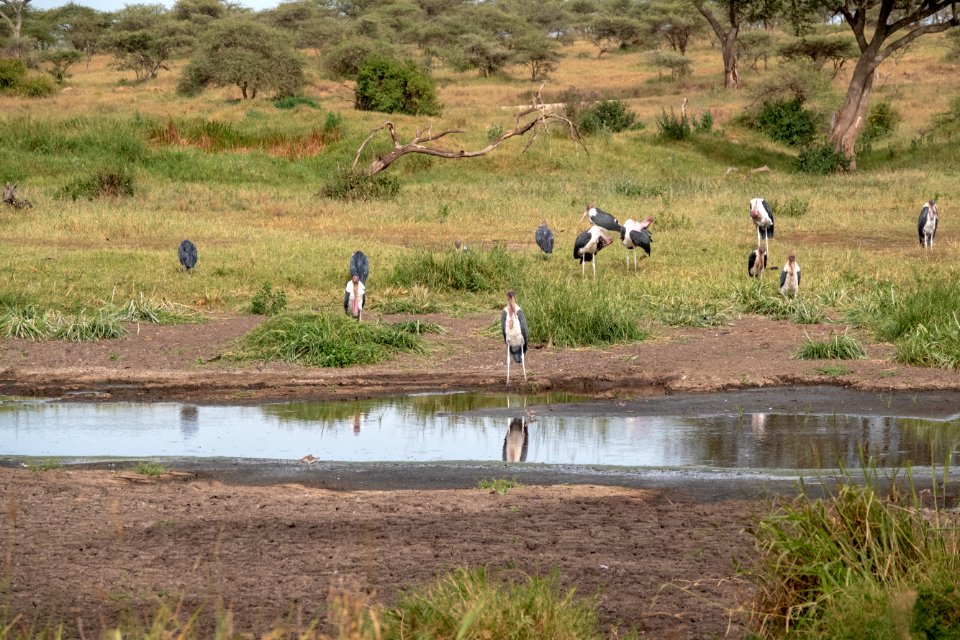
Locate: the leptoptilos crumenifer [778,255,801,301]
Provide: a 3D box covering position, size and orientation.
[{"bbox_3d":[8.883,-1.233,48.426,0.568,1.206,1.146,-1,5,9],"label":"leptoptilos crumenifer"}]

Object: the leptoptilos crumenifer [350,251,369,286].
[{"bbox_3d":[-3.345,-1.455,47.542,0.233,0.786,0.747,0,-1,33],"label":"leptoptilos crumenifer"}]

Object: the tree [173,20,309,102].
[{"bbox_3d":[-10.755,-12.009,78.682,4.517,3.403,4.616,11,28,35],"label":"tree"}]

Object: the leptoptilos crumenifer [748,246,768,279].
[{"bbox_3d":[8.227,-1.638,49.959,0.508,0.862,0.628,-1,5,1],"label":"leptoptilos crumenifer"}]

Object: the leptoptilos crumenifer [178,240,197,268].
[{"bbox_3d":[-8.558,-1.878,49.651,0.492,0.888,0.603,-2,4,-12],"label":"leptoptilos crumenifer"}]

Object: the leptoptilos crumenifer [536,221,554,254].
[{"bbox_3d":[1.975,-2.614,51.981,0.402,0.675,1.102,-6,30,-4],"label":"leptoptilos crumenifer"}]

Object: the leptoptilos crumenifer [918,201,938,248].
[{"bbox_3d":[14.035,-2.871,52.864,0.480,1.212,2.015,4,39,12],"label":"leptoptilos crumenifer"}]

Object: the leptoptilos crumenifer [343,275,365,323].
[{"bbox_3d":[-3.453,-0.579,46.620,0.538,1.284,1.539,-2,5,-6],"label":"leptoptilos crumenifer"}]

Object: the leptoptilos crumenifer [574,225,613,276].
[{"bbox_3d":[3.391,-2.008,50.363,0.774,1.486,2.138,4,-5,-18],"label":"leptoptilos crumenifer"}]

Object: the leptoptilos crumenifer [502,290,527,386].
[{"bbox_3d":[0.934,0.471,44.301,0.660,2.406,1.195,-1,5,0],"label":"leptoptilos crumenifer"}]
